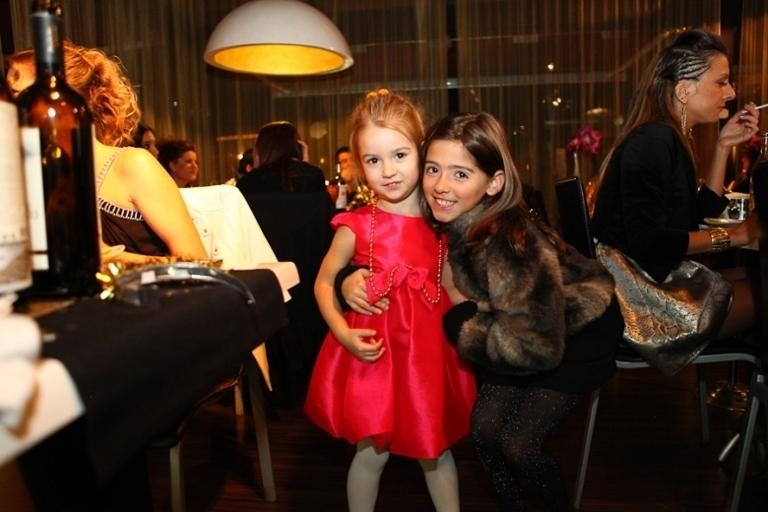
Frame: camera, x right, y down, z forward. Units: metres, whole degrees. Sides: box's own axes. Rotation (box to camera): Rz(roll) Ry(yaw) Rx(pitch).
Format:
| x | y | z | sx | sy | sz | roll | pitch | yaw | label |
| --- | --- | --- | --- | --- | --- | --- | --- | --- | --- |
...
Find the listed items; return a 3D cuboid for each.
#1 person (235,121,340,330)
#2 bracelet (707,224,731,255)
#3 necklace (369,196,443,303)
| x | y | z | sx | sy | sz | roll | pitch | yaw | label |
| --- | --- | --- | --- | --- | --- | --- | --- | --- | --- |
| -0.481 | -0.245 | 3.002 | 0.486 | 0.822 | 0.447 | -9 | 9 | -22 | person |
| 1.140 | -0.060 | 1.995 | 0.062 | 0.106 | 0.096 | -1 | -1 | 7 | bracelet |
| 0.061 | -0.015 | 1.775 | 0.271 | 0.355 | 0.026 | 10 | -28 | -13 | necklace |
